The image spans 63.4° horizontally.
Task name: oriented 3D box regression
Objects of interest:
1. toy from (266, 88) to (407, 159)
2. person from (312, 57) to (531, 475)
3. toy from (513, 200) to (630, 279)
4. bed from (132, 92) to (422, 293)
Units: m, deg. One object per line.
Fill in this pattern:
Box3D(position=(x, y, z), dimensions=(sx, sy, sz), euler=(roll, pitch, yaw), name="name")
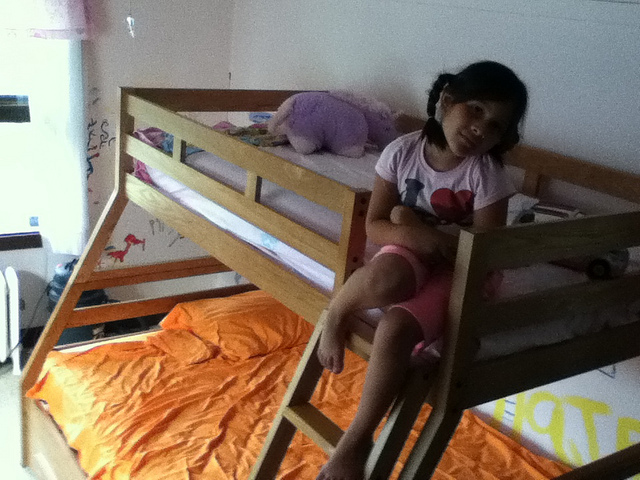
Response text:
Box3D(position=(0.102, -0.634, 2.822), dimensions=(0.643, 0.320, 0.450), euler=(-10, 22, -43), name="toy")
Box3D(position=(0.239, 0.024, 1.447), dimensions=(0.448, 1.041, 0.684), euler=(12, 17, 26), name="person")
Box3D(position=(0.742, 0.006, 1.545), dimensions=(0.167, 0.131, 0.279), euler=(-13, 30, -16), name="toy")
Box3D(position=(-0.316, -0.374, 2.364), dimensions=(1.169, 0.438, 1.147), euler=(31, 35, 25), name="bed")
